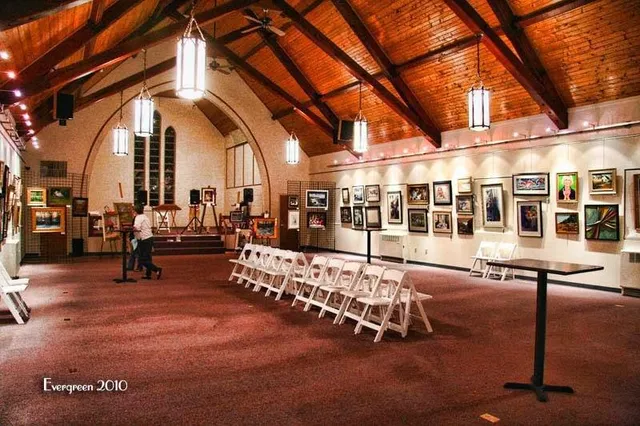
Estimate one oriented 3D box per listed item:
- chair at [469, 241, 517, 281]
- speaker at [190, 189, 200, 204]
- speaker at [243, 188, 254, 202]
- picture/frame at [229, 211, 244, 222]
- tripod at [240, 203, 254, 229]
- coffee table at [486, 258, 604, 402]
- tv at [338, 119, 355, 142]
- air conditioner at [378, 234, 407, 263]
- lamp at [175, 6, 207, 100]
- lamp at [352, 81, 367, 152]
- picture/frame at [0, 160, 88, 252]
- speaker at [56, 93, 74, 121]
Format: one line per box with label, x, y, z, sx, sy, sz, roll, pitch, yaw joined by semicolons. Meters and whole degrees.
chair;4.681;1.296;11.825;0.887;1.120;1.188;2;-4;-31
speaker;-5.278;-0.691;18.466;0.234;0.602;0.441;0;-1;23
speaker;-3.069;-0.771;18.731;0.352;0.592;0.409;1;-1;-16
picture/frame;-3.590;0.136;18.910;0.475;0.425;0.242;-2;-12;10
tripod;-3.178;-0.031;19.670;0.581;1.042;0.582;3;-8;28
coffee table;3.228;1.588;6.191;0.954;1.850;1.575;0;-1;42
tv;0.836;-2.760;14.544;0.541;0.699;0.332;1;-1;-13
air conditioner;2.729;1.259;15.749;0.670;0.947;1.162;7;-3;-34
lamp;-2.244;-2.692;7.663;0.473;1.310;0.445;1;-1;-20
lamp;1.099;-2.787;12.290;0.467;2.069;0.437;-3;9;-8
picture/frame;-8.954;-0.235;14.871;1.965;3.226;1.410;1;-1;-28
speaker;-6.298;-2.655;10.823;0.394;0.630;0.261;2;-1;-37
